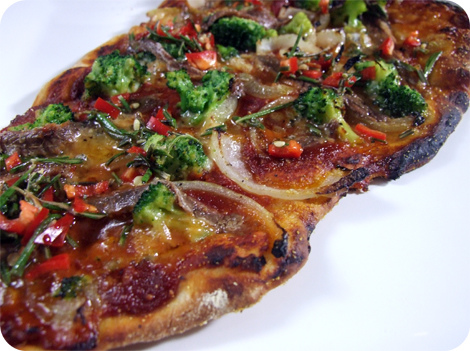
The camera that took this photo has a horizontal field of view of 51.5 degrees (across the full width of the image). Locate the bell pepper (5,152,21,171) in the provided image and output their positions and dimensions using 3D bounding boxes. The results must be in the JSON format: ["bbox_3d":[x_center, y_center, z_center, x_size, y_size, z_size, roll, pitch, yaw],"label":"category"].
[{"bbox_3d":[-2.317,-0.157,5.103,0.157,0.072,0.201,27,59,33],"label":"bell pepper"}]

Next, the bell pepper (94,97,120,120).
[{"bbox_3d":[-1.456,-0.765,5.627,0.302,0.116,0.163,28,80,-1],"label":"bell pepper"}]

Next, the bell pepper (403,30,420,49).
[{"bbox_3d":[2.305,-1.784,6.387,0.185,0.082,0.249,21,64,-4],"label":"bell pepper"}]

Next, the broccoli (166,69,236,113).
[{"bbox_3d":[-0.395,-0.950,5.468,0.539,0.243,0.549,-35,67,-24],"label":"broccoli"}]

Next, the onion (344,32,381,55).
[{"bbox_3d":[1.726,-1.797,6.563,0.491,0.326,0.313,10,26,32],"label":"onion"}]

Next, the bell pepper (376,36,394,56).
[{"bbox_3d":[1.943,-1.650,6.224,0.107,0.274,0.236,32,24,-6],"label":"bell pepper"}]

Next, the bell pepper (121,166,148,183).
[{"bbox_3d":[-1.070,-0.033,5.096,0.267,0.090,0.157,-35,49,-19],"label":"bell pepper"}]

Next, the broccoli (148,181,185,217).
[{"bbox_3d":[-0.683,0.236,4.777,0.240,0.266,0.302,-23,46,-7],"label":"broccoli"}]

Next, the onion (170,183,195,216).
[{"bbox_3d":[-0.523,0.237,4.829,0.071,0.306,0.187,-37,4,6],"label":"onion"}]

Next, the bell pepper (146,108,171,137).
[{"bbox_3d":[-0.833,-0.572,5.353,0.263,0.104,0.265,25,55,10],"label":"bell pepper"}]

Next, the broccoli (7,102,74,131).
[{"bbox_3d":[-2.119,-0.756,5.845,0.858,0.310,0.928,11,17,39],"label":"broccoli"}]

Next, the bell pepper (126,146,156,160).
[{"bbox_3d":[-0.980,-0.243,5.137,0.382,0.103,0.105,11,7,33],"label":"bell pepper"}]

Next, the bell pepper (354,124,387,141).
[{"bbox_3d":[1.518,-0.483,5.474,0.296,0.079,0.086,22,79,8],"label":"bell pepper"}]

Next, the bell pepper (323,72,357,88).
[{"bbox_3d":[1.196,-1.110,5.681,0.210,0.099,0.272,-42,41,-23],"label":"bell pepper"}]

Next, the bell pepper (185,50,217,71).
[{"bbox_3d":[-0.407,-1.424,6.004,0.286,0.174,0.284,1,27,-1],"label":"bell pepper"}]

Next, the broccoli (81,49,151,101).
[{"bbox_3d":[-1.410,-1.175,5.887,0.522,0.280,0.641,-26,42,0],"label":"broccoli"}]

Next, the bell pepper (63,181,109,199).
[{"bbox_3d":[-1.499,0.129,4.956,0.414,0.180,0.164,-20,46,-5],"label":"bell pepper"}]

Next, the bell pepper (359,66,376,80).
[{"bbox_3d":[1.579,-1.215,5.788,0.154,0.109,0.139,-1,21,39],"label":"bell pepper"}]
